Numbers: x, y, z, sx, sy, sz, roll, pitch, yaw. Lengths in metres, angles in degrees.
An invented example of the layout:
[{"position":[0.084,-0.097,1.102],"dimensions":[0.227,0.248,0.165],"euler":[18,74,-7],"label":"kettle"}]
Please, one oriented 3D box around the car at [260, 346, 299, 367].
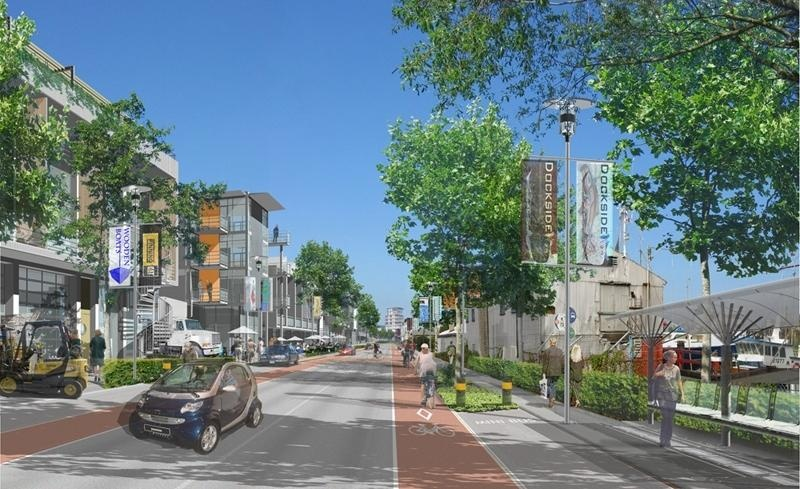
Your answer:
[{"position":[-9.442,8.695,57.389],"dimensions":[1.925,1.827,3.782],"euler":[-3,-14,8],"label":"car"}]
